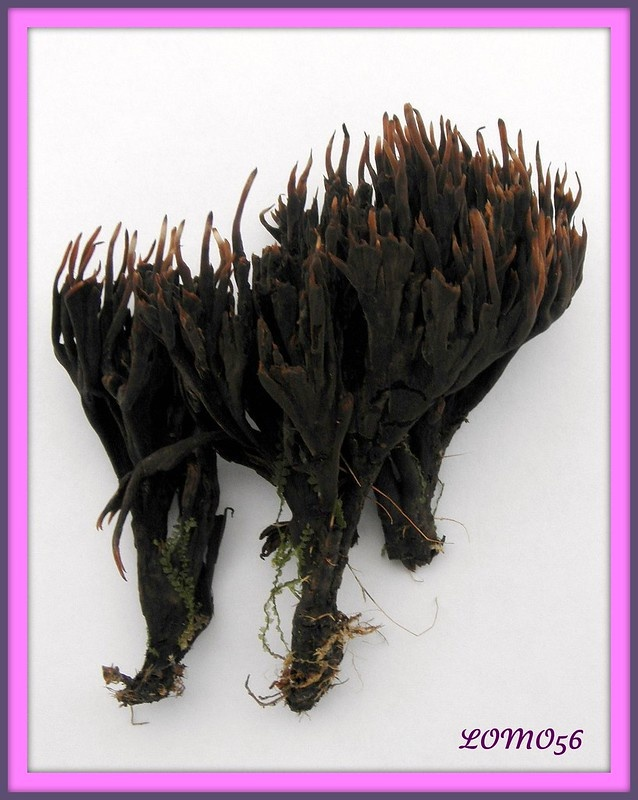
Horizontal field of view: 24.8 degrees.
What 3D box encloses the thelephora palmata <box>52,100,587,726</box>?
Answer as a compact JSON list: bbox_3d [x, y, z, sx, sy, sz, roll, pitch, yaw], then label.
[{"bbox_3d":[-0.022,0.079,5.178,1.786,2.190,0.651,0,10,11],"label":"thelephora palmata"}]
